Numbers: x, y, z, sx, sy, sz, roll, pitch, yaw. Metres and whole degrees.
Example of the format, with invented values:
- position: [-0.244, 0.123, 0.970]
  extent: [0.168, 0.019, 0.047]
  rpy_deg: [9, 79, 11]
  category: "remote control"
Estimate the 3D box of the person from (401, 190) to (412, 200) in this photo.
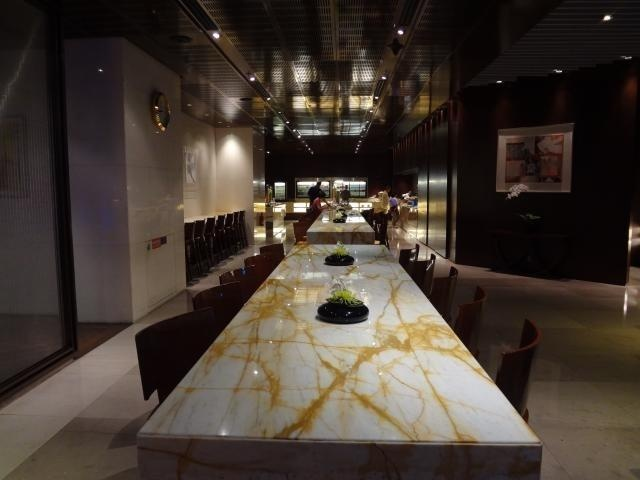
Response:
- position: [4.255, -2.198, 20.255]
  extent: [0.406, 0.328, 1.000]
  rpy_deg: [23, 18, 20]
  category: "person"

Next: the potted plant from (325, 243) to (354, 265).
- position: [0.186, 0.139, 3.801]
  extent: [0.184, 0.117, 0.193]
  rpy_deg: [1, 6, 6]
  category: "potted plant"

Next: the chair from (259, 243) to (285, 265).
- position: [-0.542, 0.158, 4.772]
  extent: [0.259, 0.320, 0.245]
  rpy_deg: [0, 1, 41]
  category: "chair"

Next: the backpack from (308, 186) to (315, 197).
- position: [-0.257, -1.410, 12.167]
  extent: [0.114, 0.355, 0.618]
  rpy_deg: [-3, 12, -8]
  category: "backpack"

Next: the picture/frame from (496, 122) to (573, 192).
- position: [3.971, -1.516, 7.481]
  extent: [1.257, 1.298, 0.093]
  rpy_deg: [5, 3, 42]
  category: "picture/frame"

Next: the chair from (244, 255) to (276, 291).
- position: [-0.604, 0.325, 4.108]
  extent: [0.293, 0.396, 0.264]
  rpy_deg: [0, -6, -7]
  category: "chair"

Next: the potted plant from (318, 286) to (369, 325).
- position: [0.133, 0.401, 2.441]
  extent: [0.203, 0.129, 0.212]
  rpy_deg: [0, 1, 3]
  category: "potted plant"
